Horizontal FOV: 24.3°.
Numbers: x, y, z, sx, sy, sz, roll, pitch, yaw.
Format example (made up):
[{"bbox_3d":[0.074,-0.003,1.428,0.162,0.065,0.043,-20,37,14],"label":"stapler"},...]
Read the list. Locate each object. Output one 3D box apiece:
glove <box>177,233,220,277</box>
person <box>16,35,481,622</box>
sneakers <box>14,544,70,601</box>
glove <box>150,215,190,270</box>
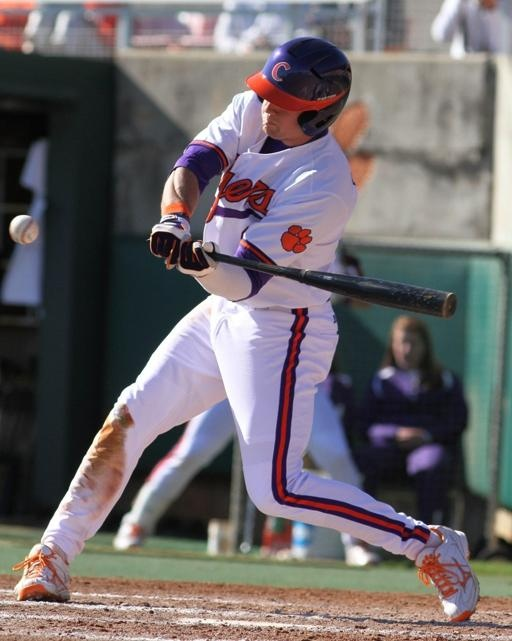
[{"bbox_3d":[-0.157,-0.164,3.057,0.086,0.094,0.050,1,-4,24],"label":"glove"},{"bbox_3d":[0.040,0.009,3.348,1.191,1.611,0.462,6,-4,-20],"label":"person"},{"bbox_3d":[-0.593,0.702,3.284,0.152,0.156,0.125,4,-4,2],"label":"sneakers"},{"bbox_3d":[-0.216,-0.217,3.148,0.128,0.130,0.063,-13,-29,31],"label":"glove"}]
